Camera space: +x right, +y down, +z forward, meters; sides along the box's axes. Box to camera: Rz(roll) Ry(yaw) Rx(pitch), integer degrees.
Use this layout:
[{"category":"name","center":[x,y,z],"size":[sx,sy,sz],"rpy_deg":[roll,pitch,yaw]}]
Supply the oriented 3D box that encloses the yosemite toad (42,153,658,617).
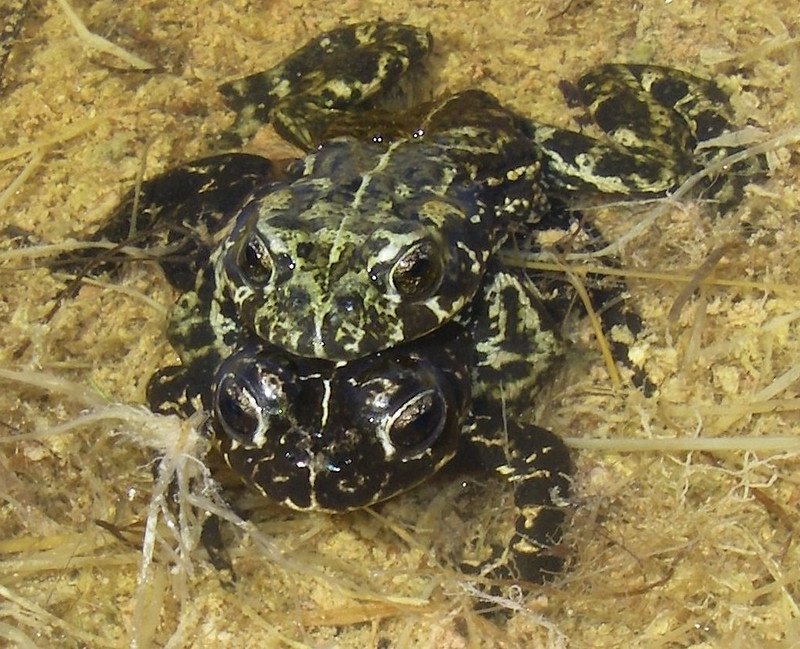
[{"category":"yosemite toad","center":[-0.110,0.050,4.555],"size":[2.496,0.892,1.632],"rpy_deg":[39,81,11]}]

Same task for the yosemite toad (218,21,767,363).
[{"category":"yosemite toad","center":[0.147,-0.594,4.734],"size":[2.262,0.562,1.692],"rpy_deg":[16,62,11]}]
